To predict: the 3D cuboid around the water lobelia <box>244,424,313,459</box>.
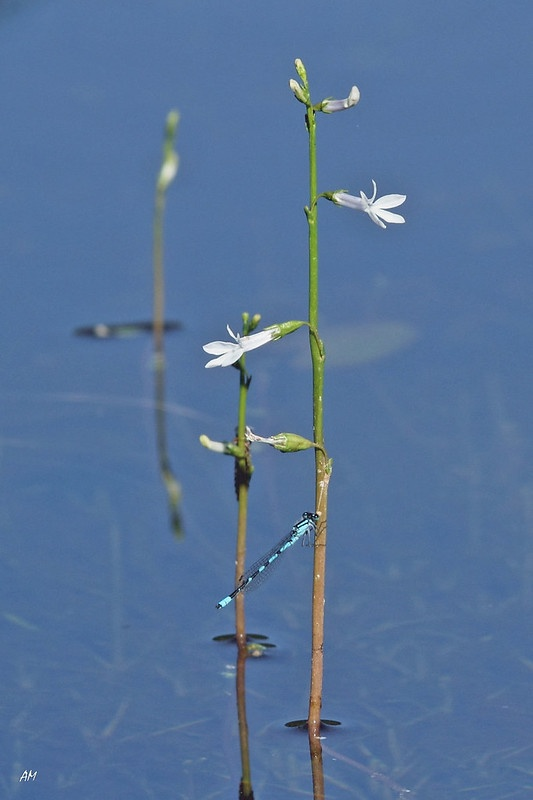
[{"bbox_3d":[0.020,0.059,1.465,0.119,0.043,0.040,10,85,-9],"label":"water lobelia"}]
